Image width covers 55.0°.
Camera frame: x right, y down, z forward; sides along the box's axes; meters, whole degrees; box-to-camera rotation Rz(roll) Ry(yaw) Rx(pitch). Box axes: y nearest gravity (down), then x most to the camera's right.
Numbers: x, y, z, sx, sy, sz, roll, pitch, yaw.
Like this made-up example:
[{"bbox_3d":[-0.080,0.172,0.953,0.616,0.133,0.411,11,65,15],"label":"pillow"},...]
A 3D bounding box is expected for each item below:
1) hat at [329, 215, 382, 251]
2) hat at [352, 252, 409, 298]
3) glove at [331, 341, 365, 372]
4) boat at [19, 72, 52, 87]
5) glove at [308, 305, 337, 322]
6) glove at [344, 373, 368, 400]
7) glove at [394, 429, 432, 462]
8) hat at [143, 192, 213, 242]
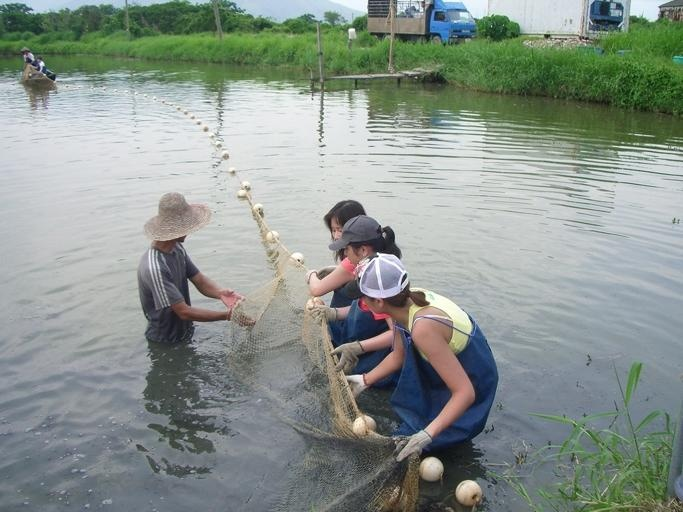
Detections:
[{"bbox_3d":[0.108,-0.193,5.310,0.345,0.190,0.220,-8,16,14],"label":"hat"},{"bbox_3d":[0.278,0.122,4.611,0.256,0.198,0.339,-24,31,-23],"label":"hat"},{"bbox_3d":[0.045,0.794,5.277,0.118,0.260,0.213,22,22,-32],"label":"glove"},{"bbox_3d":[-10.214,-5.868,21.755,1.269,0.301,0.420,17,23,15],"label":"boat"},{"bbox_3d":[-0.153,0.486,5.660,0.189,0.083,0.146,6,-6,34],"label":"glove"},{"bbox_3d":[0.108,1.026,5.163,0.249,0.157,0.083,-3,-7,41],"label":"glove"},{"bbox_3d":[0.489,1.303,4.488,0.246,0.105,0.142,-32,64,-16],"label":"glove"},{"bbox_3d":[-1.458,-0.335,5.899,0.492,0.224,0.488,-2,32,10],"label":"hat"}]
